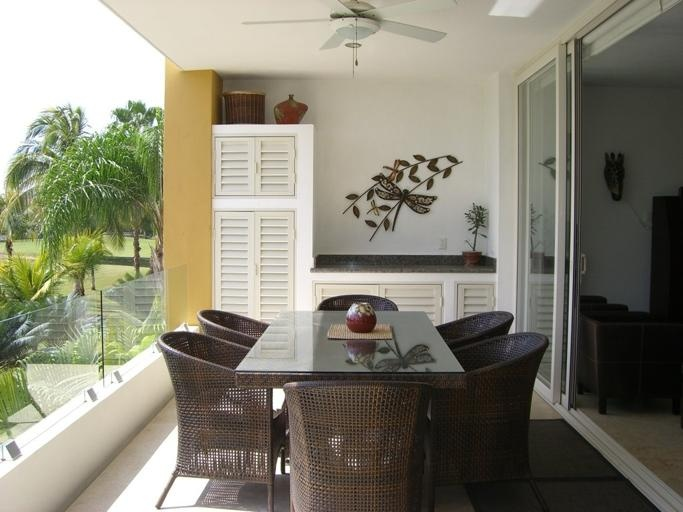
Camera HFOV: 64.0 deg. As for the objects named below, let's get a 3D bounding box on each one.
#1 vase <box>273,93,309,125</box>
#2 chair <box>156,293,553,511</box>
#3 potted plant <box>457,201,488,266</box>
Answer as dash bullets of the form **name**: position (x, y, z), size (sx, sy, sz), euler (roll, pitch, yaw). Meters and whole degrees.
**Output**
- **vase**: position (-0.527, -1.443, 5.467), size (0.305, 0.312, 0.324), euler (0, 0, 1)
- **chair**: position (0.093, 0.884, 3.654), size (2.352, 0.991, 2.002), euler (4, 11, 23)
- **potted plant**: position (1.415, -0.235, 5.760), size (0.256, 0.638, 0.358), euler (2, 10, 13)
